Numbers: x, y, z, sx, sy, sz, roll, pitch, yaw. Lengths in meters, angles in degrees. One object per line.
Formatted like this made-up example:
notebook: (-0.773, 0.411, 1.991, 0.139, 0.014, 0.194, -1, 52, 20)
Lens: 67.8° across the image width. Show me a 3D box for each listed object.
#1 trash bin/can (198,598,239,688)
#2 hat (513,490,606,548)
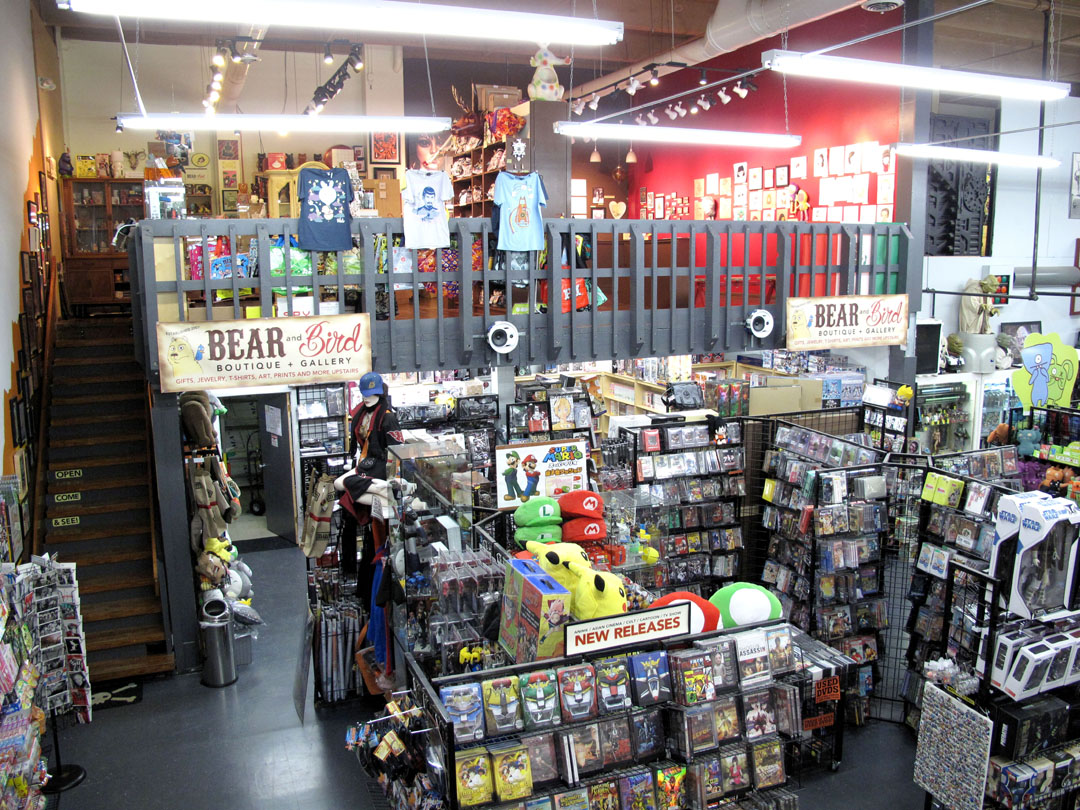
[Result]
trash bin/can: (-3.376, 2.503, 8.476, 0.353, 0.843, 0.362, -6, 5, -36)
hat: (0.184, 0.939, 6.558, 0.434, 0.265, 0.608, -2, -3, -22)
